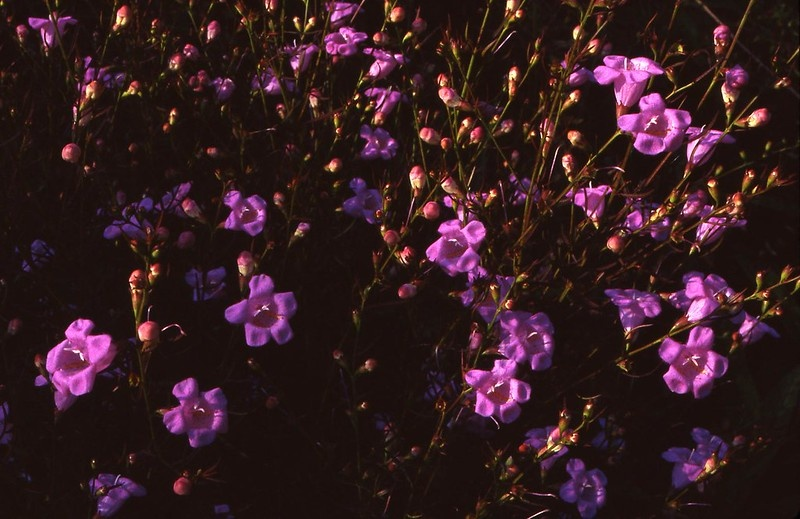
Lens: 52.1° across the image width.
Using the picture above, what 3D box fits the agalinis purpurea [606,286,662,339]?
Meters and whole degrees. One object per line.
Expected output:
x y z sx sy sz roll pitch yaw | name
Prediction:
0.855 0.203 3.071 0.260 0.181 0.282 8 7 18 | agalinis purpurea

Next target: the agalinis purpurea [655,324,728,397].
1.074 0.377 2.951 0.234 0.272 0.077 -6 16 -13 | agalinis purpurea

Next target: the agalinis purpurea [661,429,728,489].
1.126 0.793 3.131 0.238 0.163 0.288 3 -4 11 | agalinis purpurea
